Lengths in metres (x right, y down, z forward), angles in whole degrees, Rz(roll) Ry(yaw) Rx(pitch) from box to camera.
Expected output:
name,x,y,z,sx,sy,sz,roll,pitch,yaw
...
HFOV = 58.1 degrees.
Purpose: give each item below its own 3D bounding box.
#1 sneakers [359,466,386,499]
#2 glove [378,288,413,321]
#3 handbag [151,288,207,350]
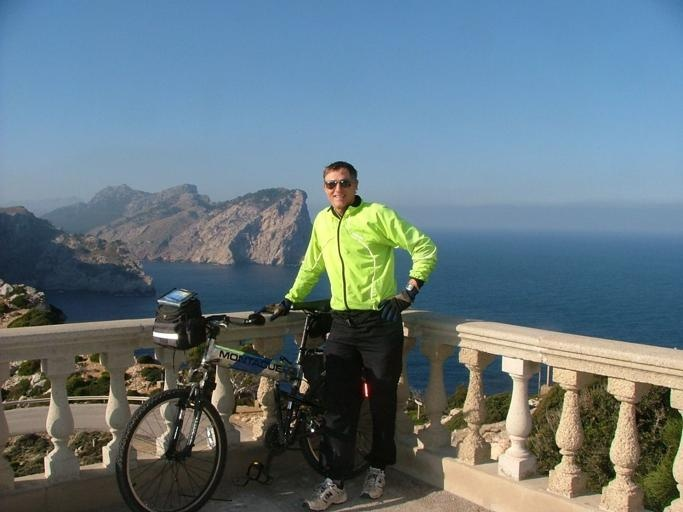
name,x,y,z,sx,sy,sz,roll,pitch,yaw
sneakers,0.303,2.037,5.623,0.173,0.179,0.470,2,5,16
glove,0.481,0.402,5.168,0.095,0.193,0.309,5,-39,-43
handbag,-1.290,0.490,4.938,0.312,0.452,0.444,5,10,25
